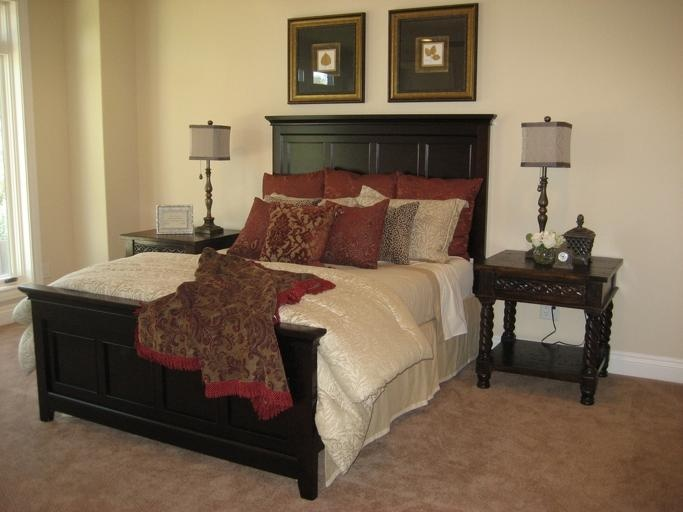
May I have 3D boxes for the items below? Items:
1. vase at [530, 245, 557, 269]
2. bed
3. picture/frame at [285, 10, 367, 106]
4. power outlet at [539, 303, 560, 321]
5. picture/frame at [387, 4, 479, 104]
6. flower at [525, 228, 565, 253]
[{"bbox_3d":[1.353,0.006,3.792,0.137,0.131,0.138,1,-1,28],"label":"vase"},{"bbox_3d":[-0.348,-0.063,4.101,2.338,2.176,2.823,3,6,31],"label":"bed"},{"bbox_3d":[-0.112,-1.655,4.736,0.823,0.827,0.062,2,5,20],"label":"picture/frame"},{"bbox_3d":[1.534,0.412,4.198,0.161,0.162,0.016,5,15,24],"label":"power outlet"},{"bbox_3d":[0.728,-1.576,4.411,0.798,0.805,0.057,3,9,25],"label":"picture/frame"},{"bbox_3d":[1.381,-0.094,3.855,0.175,0.107,0.174,6,0,20],"label":"flower"}]
